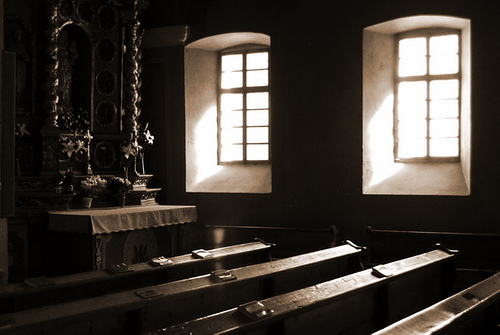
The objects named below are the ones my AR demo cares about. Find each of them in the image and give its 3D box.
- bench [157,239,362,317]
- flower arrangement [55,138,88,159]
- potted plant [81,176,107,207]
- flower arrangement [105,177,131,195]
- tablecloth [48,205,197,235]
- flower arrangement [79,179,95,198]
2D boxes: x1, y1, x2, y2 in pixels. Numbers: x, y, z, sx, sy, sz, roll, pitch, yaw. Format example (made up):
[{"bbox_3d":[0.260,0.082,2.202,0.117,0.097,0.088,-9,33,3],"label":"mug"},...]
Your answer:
[{"bbox_3d":[0.131,1.338,4.637,2.726,0.594,0.567,-4,8,-33],"label":"bench"},{"bbox_3d":[-2.862,-0.308,6.616,0.163,0.330,0.492,3,4,41],"label":"flower arrangement"},{"bbox_3d":[-2.528,0.360,6.657,0.537,0.505,0.406,-2,7,-39],"label":"potted plant"},{"bbox_3d":[-2.170,0.292,6.803,0.308,0.168,0.301,23,8,8],"label":"flower arrangement"},{"bbox_3d":[-1.955,0.773,6.362,1.977,0.305,0.979,-2,4,-40],"label":"tablecloth"},{"bbox_3d":[-2.545,0.331,6.439,0.200,0.295,0.104,-1,4,-21],"label":"flower arrangement"}]
